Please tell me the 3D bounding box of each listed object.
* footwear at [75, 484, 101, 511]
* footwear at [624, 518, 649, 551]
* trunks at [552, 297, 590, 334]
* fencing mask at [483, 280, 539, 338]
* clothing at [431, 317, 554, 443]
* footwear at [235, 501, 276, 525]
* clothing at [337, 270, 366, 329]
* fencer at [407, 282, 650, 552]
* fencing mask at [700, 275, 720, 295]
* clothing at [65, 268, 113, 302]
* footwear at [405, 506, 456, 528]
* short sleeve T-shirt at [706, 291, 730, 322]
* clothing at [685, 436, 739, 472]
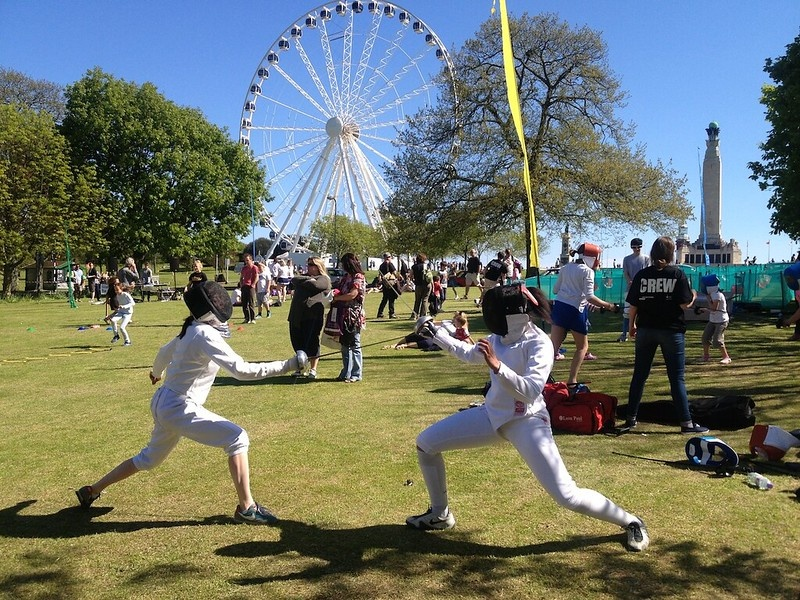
[{"bbox_3d":[-2.892,1.869,6.245,0.159,0.126,0.332,-18,-33,-23],"label":"footwear"},{"bbox_3d":[1.946,1.946,5.515,0.169,0.106,0.264,-8,43,16],"label":"footwear"},{"bbox_3d":[2.582,0.229,10.234,0.420,0.399,0.268,13,35,38],"label":"trunks"},{"bbox_3d":[0.901,0.059,5.646,0.470,0.382,0.341,-9,11,-7],"label":"fencing mask"},{"bbox_3d":[0.708,0.589,5.607,0.779,0.925,1.109,2,-10,-23],"label":"clothing"},{"bbox_3d":[-1.262,1.908,6.020,0.412,0.193,0.159,4,-4,-7],"label":"footwear"},{"bbox_3d":[-0.800,0.047,11.071,0.469,0.980,0.432,-2,8,-7],"label":"clothing"},{"bbox_3d":[0.986,0.986,5.397,2.069,2.122,1.044,4,-1,24],"label":"fencer"},{"bbox_3d":[5.750,-0.307,12.361,0.317,0.391,0.423,0,10,-7],"label":"fencing mask"},{"bbox_3d":[-15.745,-0.737,33.912,1.764,1.911,0.447,6,-5,-5],"label":"clothing"},{"bbox_3d":[0.269,1.900,5.863,0.429,0.205,0.174,2,-16,5],"label":"footwear"},{"bbox_3d":[5.770,0.131,12.185,0.307,0.566,0.657,3,9,23],"label":"short sleeve T-shirt"},{"bbox_3d":[3.233,1.565,7.051,0.249,0.317,0.476,-8,16,-28],"label":"clothing"}]
